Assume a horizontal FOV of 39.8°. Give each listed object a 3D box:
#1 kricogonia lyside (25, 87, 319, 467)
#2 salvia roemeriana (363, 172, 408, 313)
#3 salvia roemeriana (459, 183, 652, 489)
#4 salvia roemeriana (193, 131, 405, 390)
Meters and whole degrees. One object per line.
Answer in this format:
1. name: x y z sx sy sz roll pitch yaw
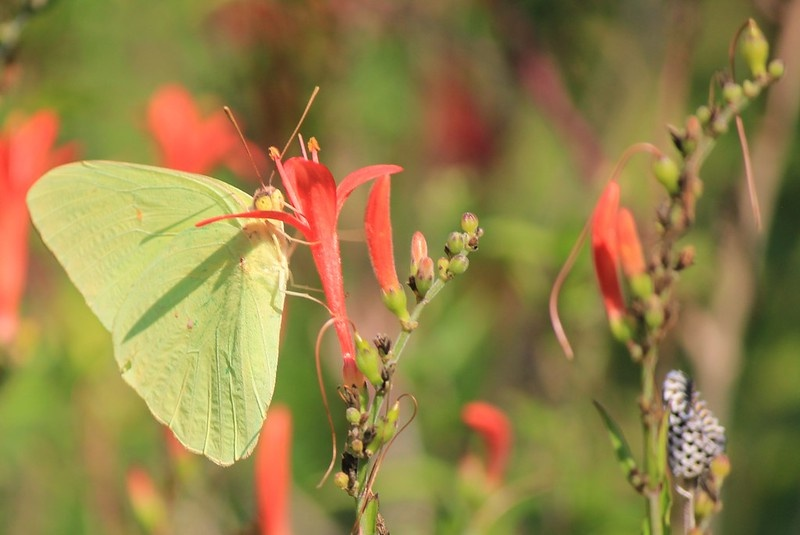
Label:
1. kricogonia lyside: -0.705 0.005 3.643 0.824 1.362 0.672 -8 16 -8
2. salvia roemeriana: -0.030 -0.062 2.887 0.049 0.377 0.095 -5 2 -38
3. salvia roemeriana: 0.469 0.149 2.850 0.240 0.773 0.264 1 -1 12
4. salvia roemeriana: -0.254 -0.114 2.919 0.356 0.852 0.407 -13 22 -36
